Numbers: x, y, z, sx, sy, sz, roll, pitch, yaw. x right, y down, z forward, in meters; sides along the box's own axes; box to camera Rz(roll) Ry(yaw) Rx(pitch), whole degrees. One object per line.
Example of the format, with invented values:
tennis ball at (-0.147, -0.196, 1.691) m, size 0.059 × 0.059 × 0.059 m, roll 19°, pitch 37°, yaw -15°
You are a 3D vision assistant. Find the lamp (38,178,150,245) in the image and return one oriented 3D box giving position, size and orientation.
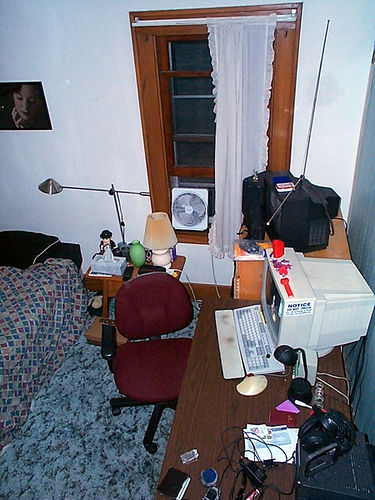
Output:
lamp at (-0.802, -0.363, 3.163) m, size 0.544 × 0.565 × 0.161 m, roll 1°, pitch 68°, yaw -3°

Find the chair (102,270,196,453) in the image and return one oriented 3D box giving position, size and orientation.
chair at (-0.214, 0.650, 2.161) m, size 0.582 × 0.973 × 0.588 m, roll 2°, pitch 29°, yaw 10°

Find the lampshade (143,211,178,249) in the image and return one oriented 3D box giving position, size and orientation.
lampshade at (-0.223, -0.154, 2.568) m, size 0.212 × 0.225 × 0.211 m, roll 1°, pitch -3°, yaw 7°

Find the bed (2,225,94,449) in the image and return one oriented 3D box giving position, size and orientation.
bed at (-1.128, 0.522, 2.659) m, size 0.857 × 1.250 × 0.360 m, roll -3°, pitch -5°, yaw 7°

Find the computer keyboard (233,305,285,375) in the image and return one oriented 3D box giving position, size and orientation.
computer keyboard at (0.341, 0.427, 1.805) m, size 0.186 × 0.086 × 0.482 m, roll -9°, pitch 26°, yaw 2°

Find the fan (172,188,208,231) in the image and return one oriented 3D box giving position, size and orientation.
fan at (0.022, -0.345, 2.908) m, size 0.362 × 0.447 × 0.057 m, roll 2°, pitch 30°, yaw 7°

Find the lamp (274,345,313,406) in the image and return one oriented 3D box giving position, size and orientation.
lamp at (0.435, 0.501, 1.471) m, size 0.160 × 0.242 × 0.116 m, roll 2°, pitch 20°, yaw 19°

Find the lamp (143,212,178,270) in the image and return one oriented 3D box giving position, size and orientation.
lamp at (-0.205, -0.058, 2.612) m, size 0.231 × 0.403 × 0.231 m, roll -7°, pitch 23°, yaw -10°

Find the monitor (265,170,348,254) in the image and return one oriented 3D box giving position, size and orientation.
monitor at (0.727, -0.264, 2.155) m, size 0.455 × 0.342 × 0.469 m, roll -7°, pitch 32°, yaw 1°
